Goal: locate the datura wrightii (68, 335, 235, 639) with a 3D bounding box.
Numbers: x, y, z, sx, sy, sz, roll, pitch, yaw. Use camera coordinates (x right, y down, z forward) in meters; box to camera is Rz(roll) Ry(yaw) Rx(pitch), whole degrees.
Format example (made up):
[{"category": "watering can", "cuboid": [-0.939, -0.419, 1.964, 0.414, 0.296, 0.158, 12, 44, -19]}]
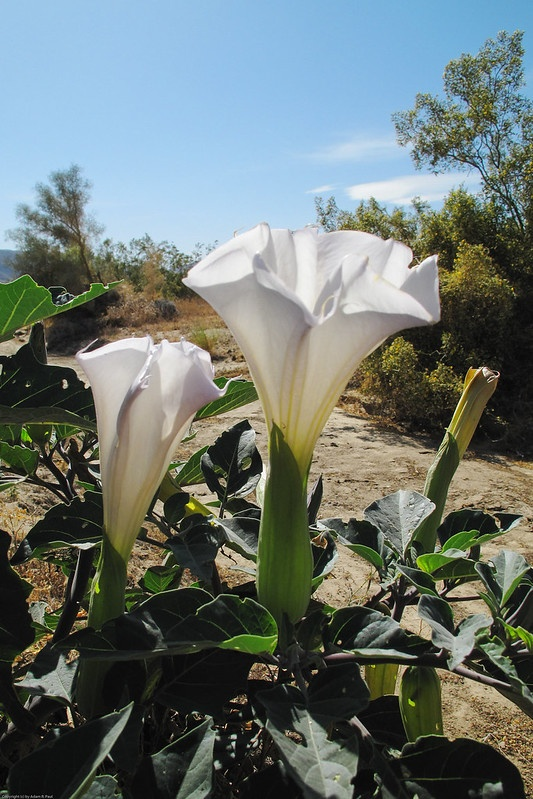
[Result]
[{"category": "datura wrightii", "cuboid": [-0.117, 0.077, 0.668, 0.152, 0.288, 0.161, -3, 10, -6]}]
